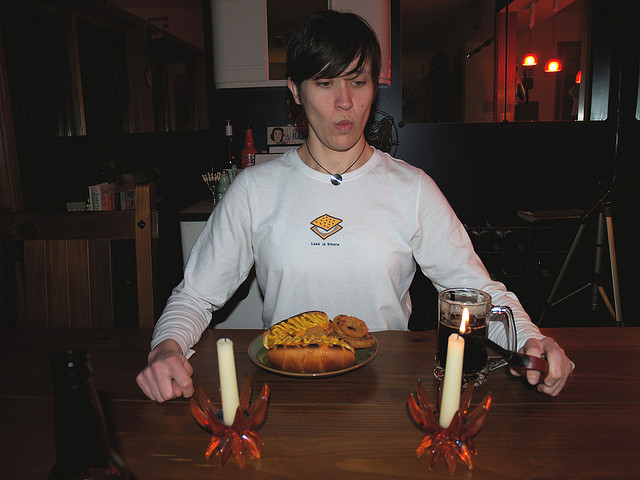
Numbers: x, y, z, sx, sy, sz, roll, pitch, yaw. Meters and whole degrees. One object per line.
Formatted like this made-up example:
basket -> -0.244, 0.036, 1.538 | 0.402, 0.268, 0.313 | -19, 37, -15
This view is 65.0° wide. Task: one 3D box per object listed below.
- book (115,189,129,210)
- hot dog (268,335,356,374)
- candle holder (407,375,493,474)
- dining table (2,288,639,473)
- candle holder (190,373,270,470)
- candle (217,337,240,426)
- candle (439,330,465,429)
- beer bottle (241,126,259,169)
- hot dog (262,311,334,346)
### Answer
book -> -1.262, -0.251, 3.167 | 0.043, 0.104, 0.208 | -2, 9, -11
hot dog -> -0.025, 0.301, 1.334 | 0.192, 0.069, 0.101 | 2, 9, 2
candle holder -> 0.313, 0.415, 1.241 | 0.200, 0.186, 0.194 | -2, 4, -18
dining table -> 0.026, 0.314, 1.341 | 1.802, 0.343, 0.571 | 0, 9, 4
candle holder -> -0.188, 0.430, 1.242 | 0.191, 0.173, 0.191 | -1, 0, 41
candle -> -0.204, 0.313, 1.126 | 0.040, 0.218, 0.113 | -2, 9, -9
candle -> 0.297, 0.308, 1.147 | 0.045, 0.228, 0.154 | 2, 9, 14
beer bottle -> -0.523, -0.693, 3.738 | 0.117, 0.293, 0.198 | -2, 9, -10
hot dog -> -0.067, 0.226, 1.419 | 0.169, 0.050, 0.089 | -13, 1, -14
